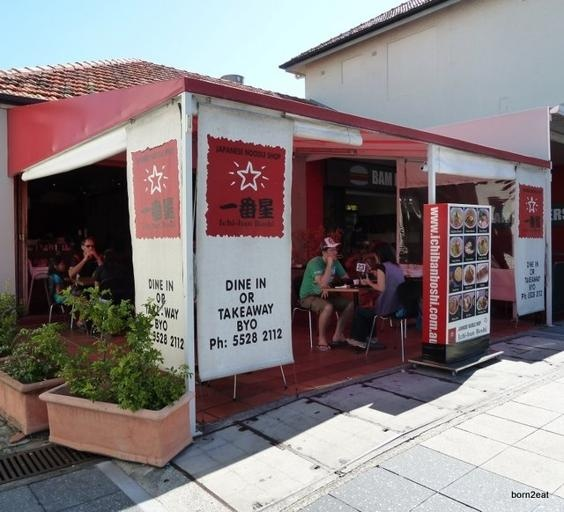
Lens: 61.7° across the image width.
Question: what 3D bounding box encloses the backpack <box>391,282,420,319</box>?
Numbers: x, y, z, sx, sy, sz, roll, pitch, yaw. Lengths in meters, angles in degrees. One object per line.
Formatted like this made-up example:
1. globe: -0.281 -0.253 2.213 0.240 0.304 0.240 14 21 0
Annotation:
1. backpack: 1.631 0.554 6.262 0.429 0.526 0.414 -1 0 -14

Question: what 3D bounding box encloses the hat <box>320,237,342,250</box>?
1. hat: 0.659 -0.167 6.644 0.155 0.133 0.234 -4 -10 -42

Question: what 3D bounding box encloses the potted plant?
1. potted plant: -1.556 0.878 3.980 1.681 1.293 0.911 1 4 17

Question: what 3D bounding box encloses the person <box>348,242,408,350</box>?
1. person: 1.304 0.556 6.537 0.906 1.506 0.661 2 4 36

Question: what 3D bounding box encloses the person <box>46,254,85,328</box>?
1. person: -3.381 0.554 7.304 0.461 1.039 0.433 0 3 -25

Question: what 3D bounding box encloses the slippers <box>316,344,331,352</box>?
1. slippers: 0.577 1.280 6.655 0.204 0.078 0.255 0 4 6

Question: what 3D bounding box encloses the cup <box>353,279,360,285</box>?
1. cup: 1.064 0.370 6.799 0.077 0.066 0.076 3 3 0

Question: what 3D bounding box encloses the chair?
1. chair: 1.237 0.871 6.826 1.298 0.704 1.325 -3 -4 35
